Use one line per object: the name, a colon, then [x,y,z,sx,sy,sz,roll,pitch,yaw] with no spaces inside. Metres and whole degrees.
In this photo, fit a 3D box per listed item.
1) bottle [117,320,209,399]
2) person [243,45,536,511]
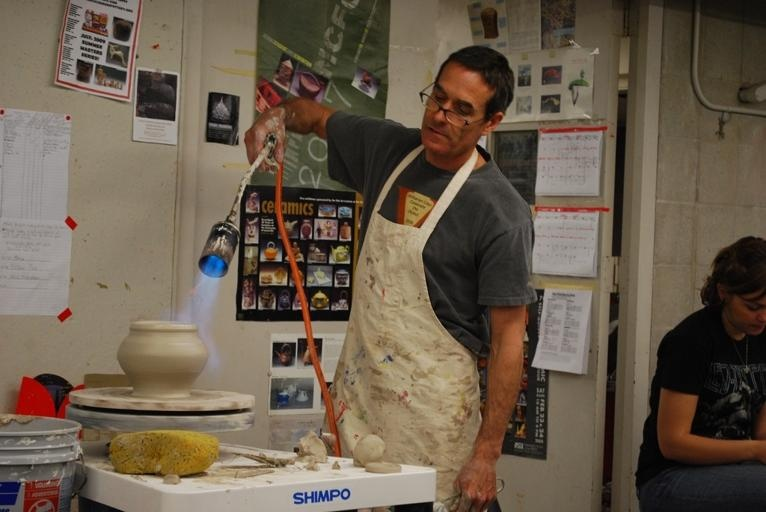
bottle: [-0.775,0.353,2.393,0.251,0.220,0.267,-2,-3,26]
person: [0.180,0.071,2.723,0.836,1.818,0.349,2,-4,13]
